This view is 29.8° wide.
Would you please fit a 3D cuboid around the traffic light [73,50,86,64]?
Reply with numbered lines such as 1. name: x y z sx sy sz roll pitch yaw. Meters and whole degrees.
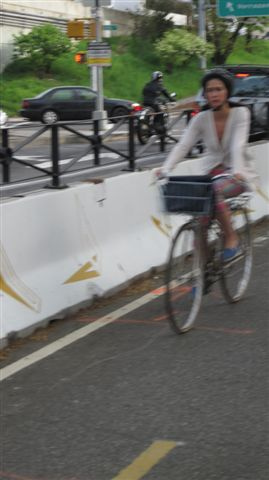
1. traffic light: -2.814 -9.444 26.243 0.389 0.774 1.220 -6 6 -19

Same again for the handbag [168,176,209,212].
1. handbag: 0.387 -0.317 3.633 0.260 0.162 0.263 2 6 4

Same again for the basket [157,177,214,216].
1. basket: 0.352 -0.296 3.556 0.326 0.214 0.231 4 5 14

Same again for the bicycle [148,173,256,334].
1. bicycle: 0.649 0.082 4.248 0.557 1.264 1.392 -1 6 29

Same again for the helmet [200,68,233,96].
1. helmet: 0.685 -1.311 4.207 0.259 0.282 0.458 -3 6 9
